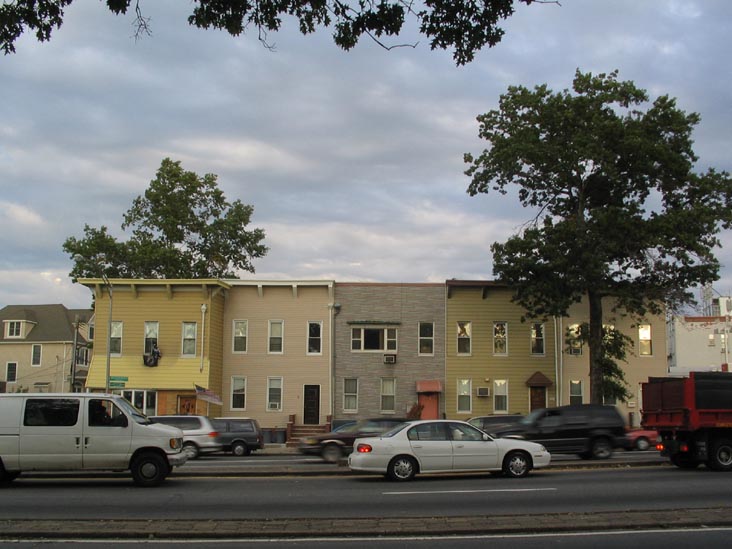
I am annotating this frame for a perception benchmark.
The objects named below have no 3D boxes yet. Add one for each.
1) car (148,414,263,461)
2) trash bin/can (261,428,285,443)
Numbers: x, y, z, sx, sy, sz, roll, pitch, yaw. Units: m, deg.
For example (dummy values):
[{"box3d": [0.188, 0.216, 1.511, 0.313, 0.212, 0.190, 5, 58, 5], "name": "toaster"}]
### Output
[{"box3d": [-6.766, 6.995, 43.134, 4.717, 1.473, 2.164, -4, -7, 26], "name": "car"}, {"box3d": [-4.717, 8.311, 53.168, 1.162, 0.793, 0.931, 3, -10, -8], "name": "trash bin/can"}]
